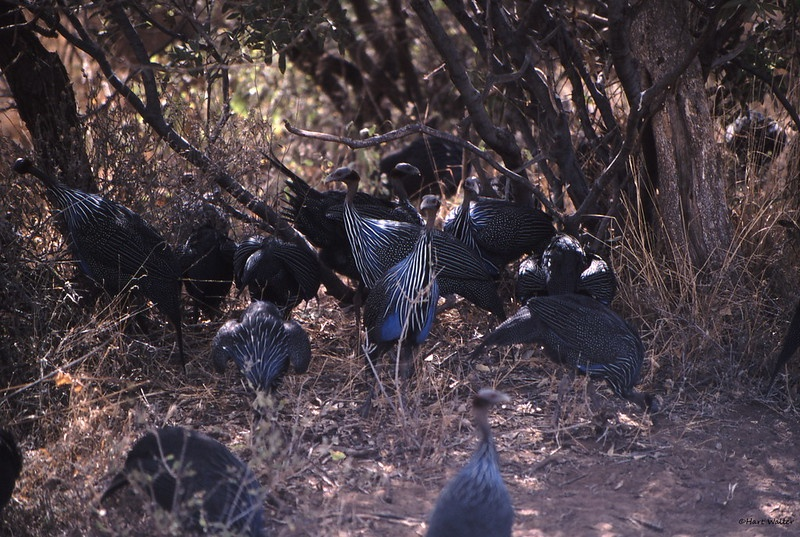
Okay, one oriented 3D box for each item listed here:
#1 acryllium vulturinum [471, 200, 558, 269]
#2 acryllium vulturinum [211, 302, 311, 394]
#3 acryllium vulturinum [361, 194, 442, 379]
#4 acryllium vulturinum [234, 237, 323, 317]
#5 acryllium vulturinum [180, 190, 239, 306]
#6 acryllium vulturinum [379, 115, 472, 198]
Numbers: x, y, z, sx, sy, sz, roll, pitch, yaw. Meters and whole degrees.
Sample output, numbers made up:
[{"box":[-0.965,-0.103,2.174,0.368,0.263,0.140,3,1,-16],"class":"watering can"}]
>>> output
[{"box":[0.910,-0.284,7.712,0.702,0.452,0.702,0,-22,-35],"class":"acryllium vulturinum"},{"box":[-1.063,0.676,6.981,0.717,0.596,1.290,1,7,-9],"class":"acryllium vulturinum"},{"box":[0.038,0.152,7.040,0.715,1.188,0.750,-9,3,-3],"class":"acryllium vulturinum"},{"box":[-1.082,-0.081,7.767,0.664,0.705,0.958,12,1,4],"class":"acryllium vulturinum"},{"box":[-1.573,-0.151,7.897,0.434,0.883,0.833,-6,28,-9],"class":"acryllium vulturinum"},{"box":[0.292,-1.045,9.181,0.993,0.725,0.417,-12,0,29],"class":"acryllium vulturinum"}]
